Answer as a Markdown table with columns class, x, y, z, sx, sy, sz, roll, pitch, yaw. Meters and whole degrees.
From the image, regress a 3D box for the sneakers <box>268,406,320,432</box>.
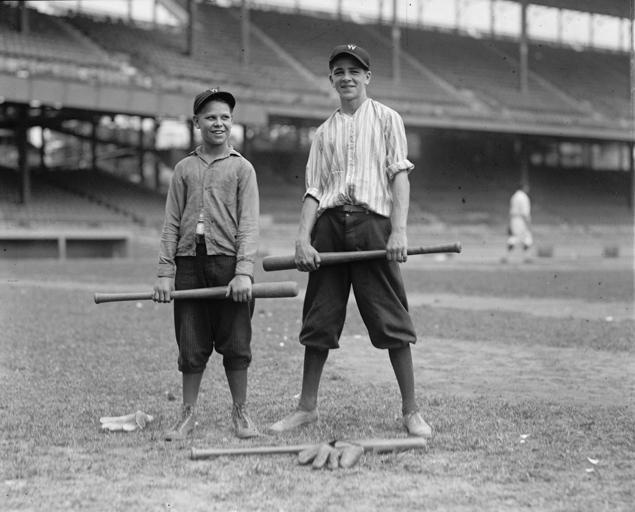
| class | x | y | z | sx | sy | sz | roll | pitch | yaw |
| --- | --- | --- | --- | --- | --- | --- | --- | --- | --- |
| sneakers | -0.205 | 1.497 | 13.292 | 0.457 | 0.181 | 0.169 | -16 | 13 | -18 |

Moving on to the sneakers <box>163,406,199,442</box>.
| class | x | y | z | sx | sy | sz | roll | pitch | yaw |
| --- | --- | --- | --- | --- | --- | --- | --- | --- | --- |
| sneakers | -1.231 | 1.509 | 13.131 | 0.258 | 0.294 | 0.406 | 1 | 4 | 6 |

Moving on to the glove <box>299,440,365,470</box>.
| class | x | y | z | sx | sy | sz | roll | pitch | yaw |
| --- | --- | --- | --- | --- | --- | --- | --- | --- | --- |
| glove | 0.134 | 1.757 | 12.670 | 0.330 | 0.098 | 0.282 | -3 | 20 | -8 |

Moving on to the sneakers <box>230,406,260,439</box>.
| class | x | y | z | sx | sy | sz | roll | pitch | yaw |
| --- | --- | --- | --- | --- | --- | --- | --- | --- | --- |
| sneakers | -0.651 | 1.500 | 13.171 | 0.254 | 0.276 | 0.346 | 0 | 4 | -4 |

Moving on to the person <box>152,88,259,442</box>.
| class | x | y | z | sx | sy | sz | roll | pitch | yaw |
| --- | --- | --- | --- | --- | --- | --- | --- | --- | --- |
| person | -1.002 | 0.060 | 13.186 | 0.933 | 3.124 | 0.643 | 0 | 4 | -5 |

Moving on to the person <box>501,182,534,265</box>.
| class | x | y | z | sx | sy | sz | roll | pitch | yaw |
| --- | --- | --- | --- | --- | --- | --- | --- | --- | --- |
| person | 2.147 | -0.399 | 15.546 | 0.288 | 0.803 | 1.082 | 1 | 4 | 7 |

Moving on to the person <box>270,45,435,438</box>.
| class | x | y | z | sx | sy | sz | roll | pitch | yaw |
| --- | --- | --- | --- | --- | --- | --- | --- | --- | --- |
| person | 0.335 | -0.154 | 13.229 | 1.193 | 3.516 | 0.558 | 1 | 4 | 4 |

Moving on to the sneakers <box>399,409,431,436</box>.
| class | x | y | z | sx | sy | sz | roll | pitch | yaw |
| --- | --- | --- | --- | --- | --- | --- | --- | --- | --- |
| sneakers | 0.896 | 1.531 | 13.099 | 0.267 | 0.211 | 0.265 | 1 | 4 | 3 |
